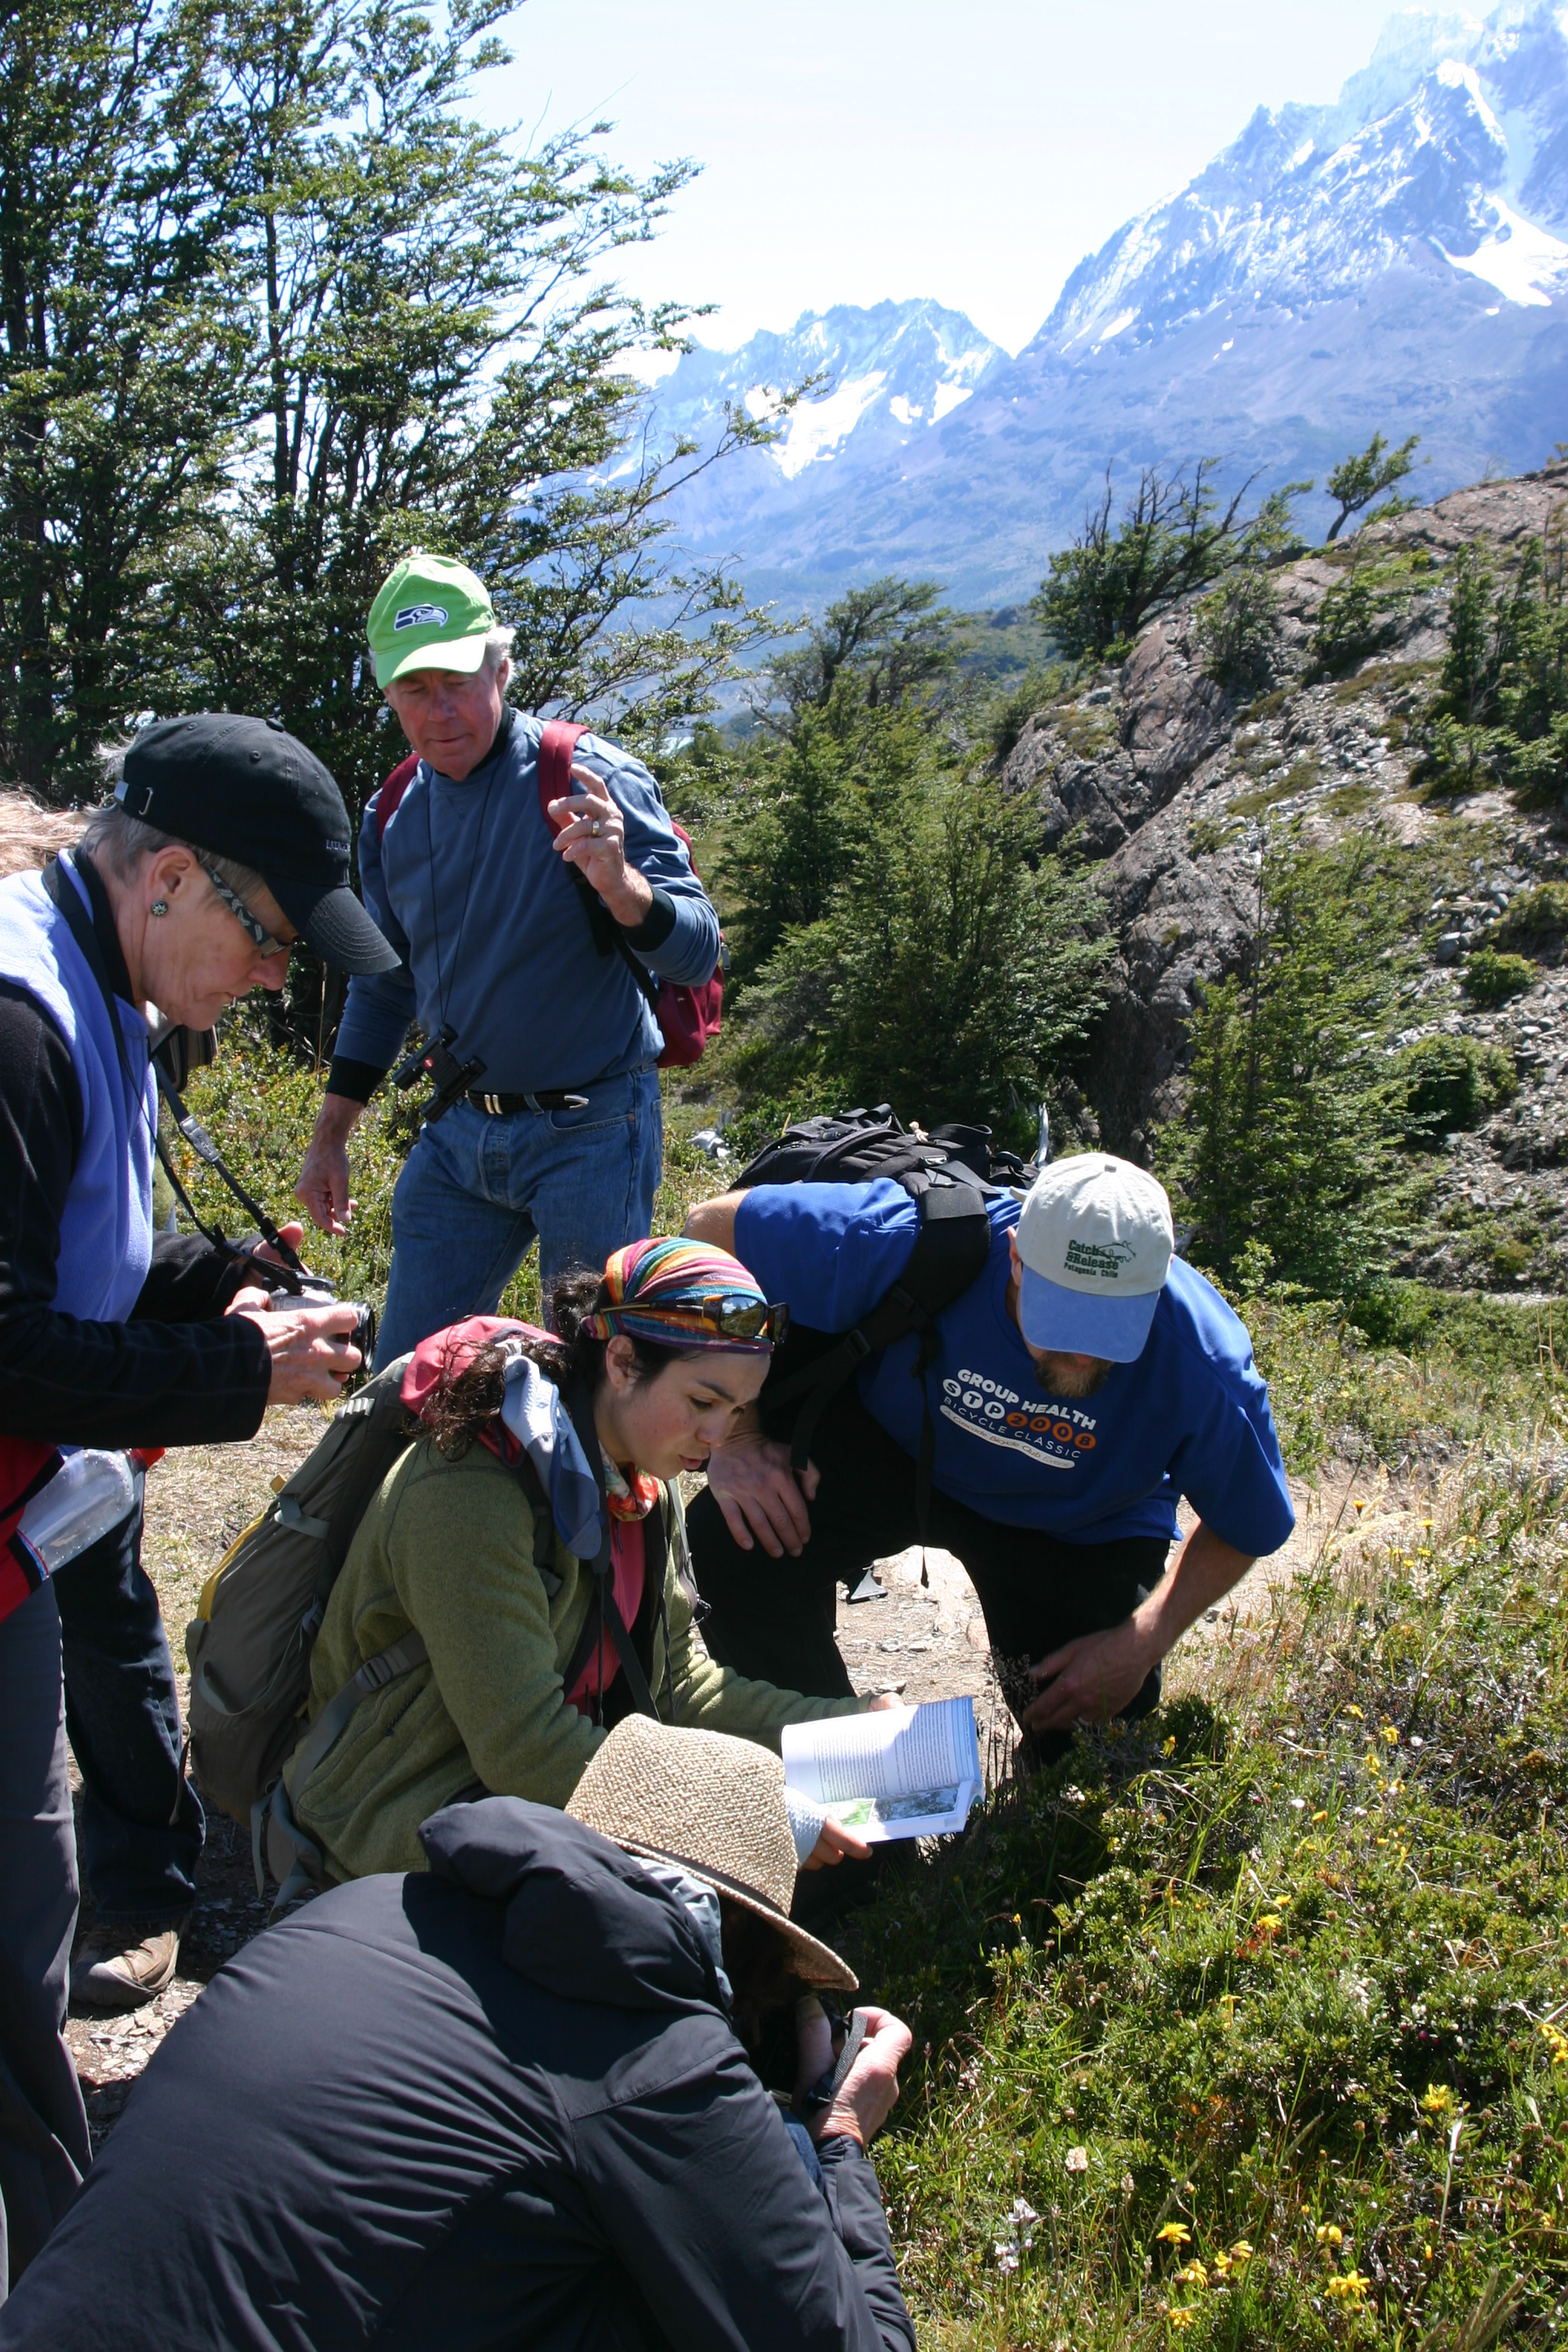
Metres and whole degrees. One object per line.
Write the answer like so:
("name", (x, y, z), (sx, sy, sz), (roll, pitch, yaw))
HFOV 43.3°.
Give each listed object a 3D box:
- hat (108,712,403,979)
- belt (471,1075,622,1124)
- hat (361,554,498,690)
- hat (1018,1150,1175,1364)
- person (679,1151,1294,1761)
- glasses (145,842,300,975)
("hat", (-0.726, -0.494, 2.756), (0.469, 0.252, 0.309), (25, 0, -16))
("belt", (-0.552, -0.175, 4.450), (0.328, 0.091, 0.080), (1, 11, -5))
("hat", (-0.748, -1.202, 4.271), (0.284, 0.288, 0.277), (0, 11, -9))
("hat", (0.579, 0.107, 3.629), (0.294, 0.225, 0.460), (10, 37, 6))
("person", (0.391, 0.601, 4.011), (0.953, 1.295, 0.941), (9, 46, -10))
("glasses", (-0.750, -0.360, 2.642), (0.153, 0.046, 0.156), (51, 2, 27))
